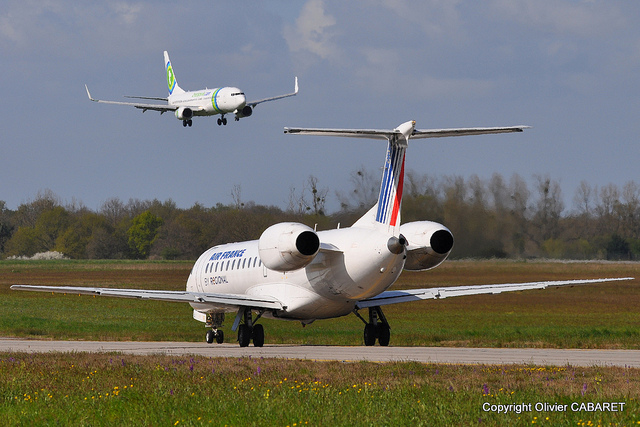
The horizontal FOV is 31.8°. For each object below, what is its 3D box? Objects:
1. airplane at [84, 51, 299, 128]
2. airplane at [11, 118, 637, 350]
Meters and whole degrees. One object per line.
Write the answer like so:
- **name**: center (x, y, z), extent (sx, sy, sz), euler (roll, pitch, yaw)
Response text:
- **airplane**: center (-6.395, -6.103, 62.308), extent (11.293, 4.886, 10.775), euler (-5, 0, -33)
- **airplane**: center (0.200, 1.123, 45.804), extent (14.304, 9.313, 16.263), euler (-1, 1, -10)
